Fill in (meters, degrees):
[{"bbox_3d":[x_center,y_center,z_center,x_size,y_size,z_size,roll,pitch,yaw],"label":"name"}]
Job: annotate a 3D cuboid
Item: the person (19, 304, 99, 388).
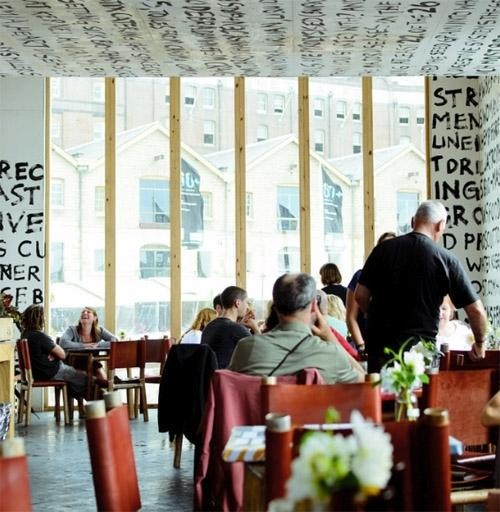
[{"bbox_3d":[-1.651,0.835,7.854,0.657,0.972,0.514,-1,-3,-36],"label":"person"}]
